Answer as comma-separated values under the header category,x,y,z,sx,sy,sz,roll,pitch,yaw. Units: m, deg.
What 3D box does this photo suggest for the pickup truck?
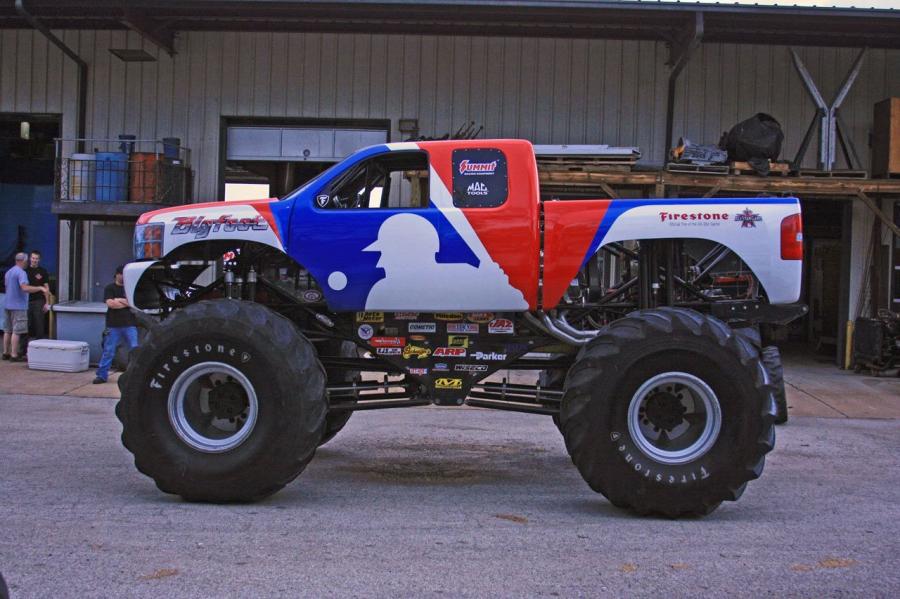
category,x,y,z,sx,sy,sz,roll,pitch,yaw
pickup truck,0.312,0.305,15.189,8.954,4.467,4.630,1,0,2

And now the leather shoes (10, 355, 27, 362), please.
category,x,y,z,sx,sy,sz,roll,pitch,yaw
leather shoes,-9.167,1.221,21.570,0.364,0.140,0.121,-1,3,-12

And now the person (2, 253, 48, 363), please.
category,x,y,z,sx,sy,sz,roll,pitch,yaw
person,-9.100,0.122,21.531,0.577,2.195,0.800,10,13,41
